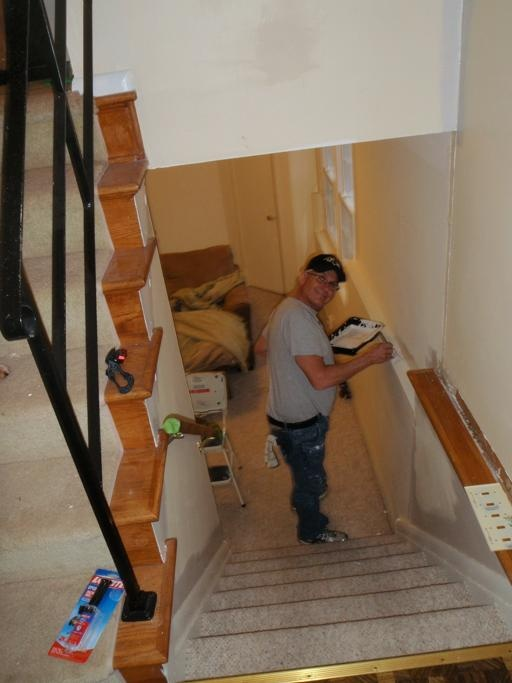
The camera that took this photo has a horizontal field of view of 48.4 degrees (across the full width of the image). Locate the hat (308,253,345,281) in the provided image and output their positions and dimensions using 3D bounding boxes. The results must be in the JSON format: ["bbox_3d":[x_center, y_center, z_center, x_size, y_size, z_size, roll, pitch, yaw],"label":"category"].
[{"bbox_3d":[0.315,-0.359,2.691,0.122,0.095,0.163,23,-3,-18],"label":"hat"}]

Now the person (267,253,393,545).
[{"bbox_3d":[0.345,0.468,2.937,0.536,1.837,0.601,-11,24,-5],"label":"person"}]
